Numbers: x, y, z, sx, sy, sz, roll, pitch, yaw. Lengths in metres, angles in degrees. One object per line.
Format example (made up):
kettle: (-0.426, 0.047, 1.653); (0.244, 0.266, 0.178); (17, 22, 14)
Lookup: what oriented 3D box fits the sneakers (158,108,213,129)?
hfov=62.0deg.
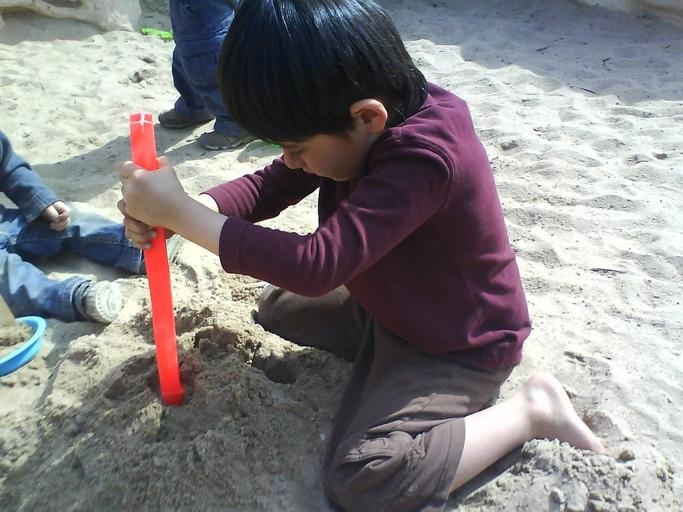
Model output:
sneakers: (-1.109, -0.973, 4.080); (0.370, 0.177, 0.148); (-8, 33, -18)
